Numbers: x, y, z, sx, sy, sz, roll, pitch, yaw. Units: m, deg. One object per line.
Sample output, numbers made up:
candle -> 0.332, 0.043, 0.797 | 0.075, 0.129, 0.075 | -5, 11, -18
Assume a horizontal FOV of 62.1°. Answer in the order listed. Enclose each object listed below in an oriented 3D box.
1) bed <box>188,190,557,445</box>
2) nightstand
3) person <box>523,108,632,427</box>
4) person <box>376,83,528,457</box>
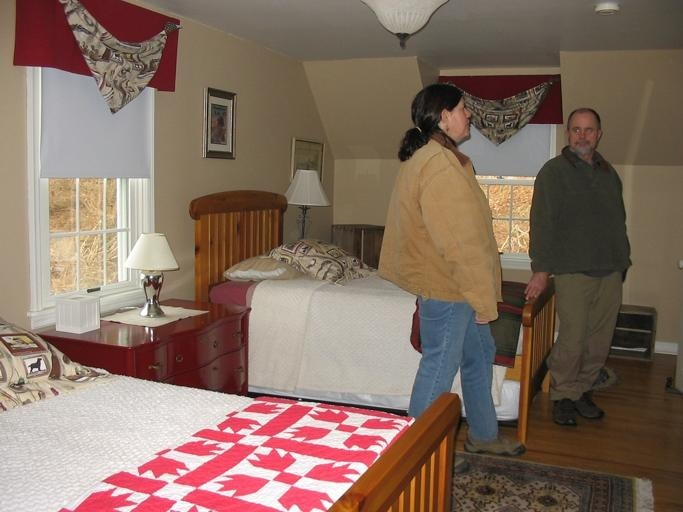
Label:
bed -> 0.174, 0.231, 4.245 | 2.528, 1.629, 1.505 | 1, 9, 13
nightstand -> -1.076, 0.318, 3.080 | 0.588, 0.597, 0.944 | 3, 8, 19
person -> 1.455, 0.090, 3.575 | 0.784, 1.987, 0.500 | -12, 18, -38
person -> 0.569, 0.182, 2.761 | 0.634, 1.979, 0.537 | -6, 15, -17
